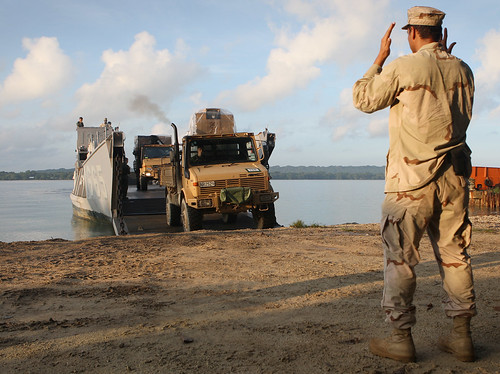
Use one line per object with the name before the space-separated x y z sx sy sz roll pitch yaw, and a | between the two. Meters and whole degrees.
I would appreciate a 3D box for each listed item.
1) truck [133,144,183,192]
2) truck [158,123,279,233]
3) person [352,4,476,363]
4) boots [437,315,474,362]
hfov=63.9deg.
truck | -6.772 -1.624 27.821 3.071 3.941 6.405 0 -3 -15
truck | -1.252 -0.184 13.474 2.119 2.568 4.458 -1 -3 -14
person | 1.453 -0.048 3.460 0.939 3.000 0.484 -1 3 17
boots | 1.801 1.274 3.515 0.191 0.392 0.481 4 -7 -5
